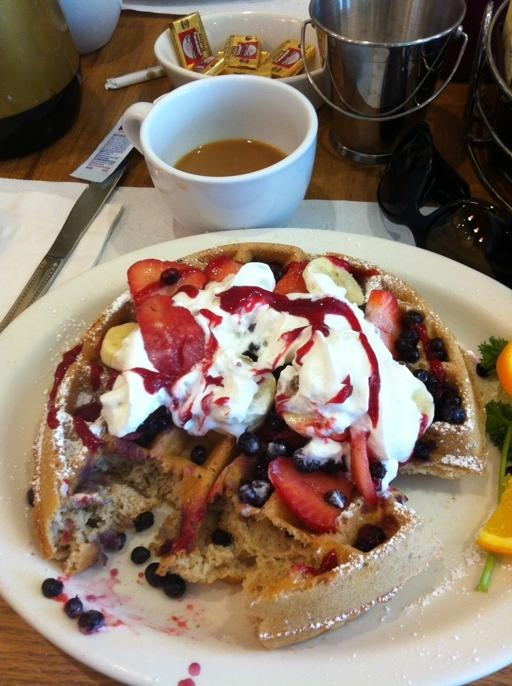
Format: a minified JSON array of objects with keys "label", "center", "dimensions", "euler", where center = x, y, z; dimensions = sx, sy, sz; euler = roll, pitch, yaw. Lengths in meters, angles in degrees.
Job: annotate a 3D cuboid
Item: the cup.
[{"label":"cup","center":[-0.064,-0.592,1.852],"dimensions":[0.505,0.287,0.481],"euler":[-3,64,6]}]
